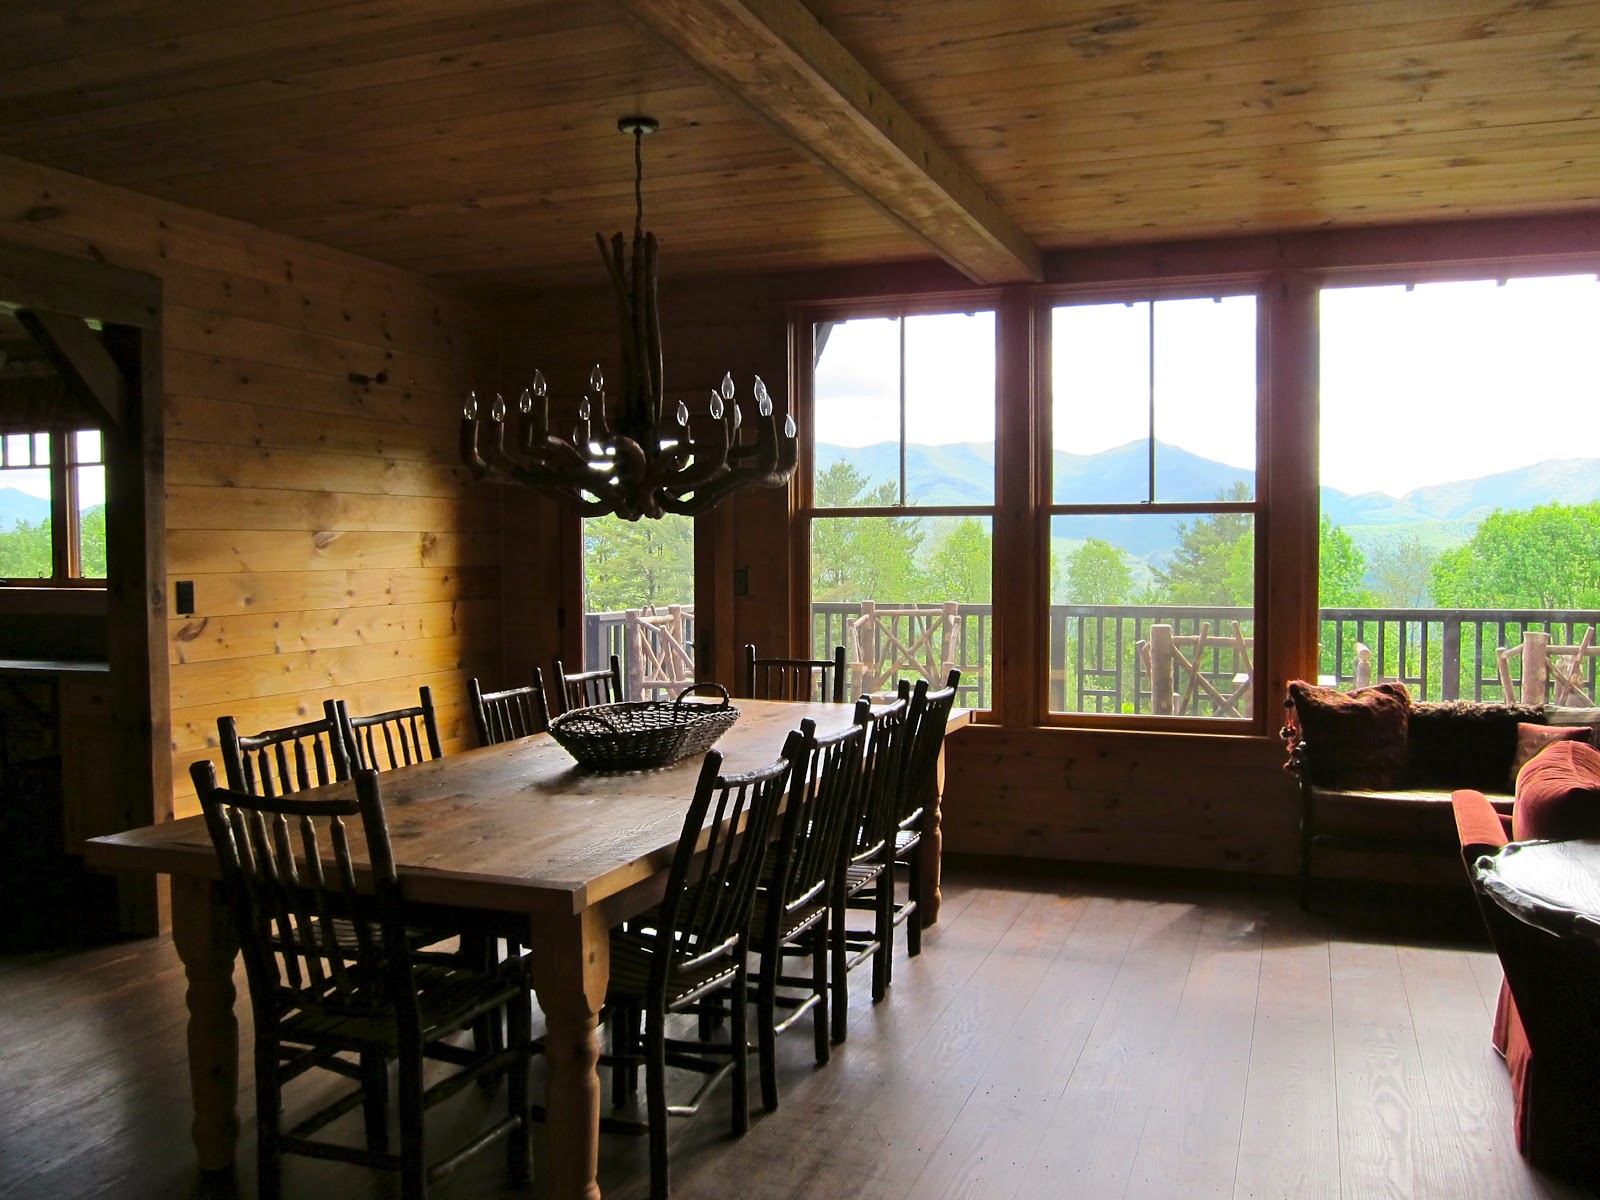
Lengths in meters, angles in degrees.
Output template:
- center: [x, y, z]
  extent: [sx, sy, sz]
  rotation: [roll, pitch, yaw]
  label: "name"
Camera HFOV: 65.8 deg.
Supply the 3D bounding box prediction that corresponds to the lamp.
- center: [-0.641, -1.184, 5.008]
  extent: [1.251, 1.500, 1.239]
  rotation: [-3, -8, 17]
  label: "lamp"
